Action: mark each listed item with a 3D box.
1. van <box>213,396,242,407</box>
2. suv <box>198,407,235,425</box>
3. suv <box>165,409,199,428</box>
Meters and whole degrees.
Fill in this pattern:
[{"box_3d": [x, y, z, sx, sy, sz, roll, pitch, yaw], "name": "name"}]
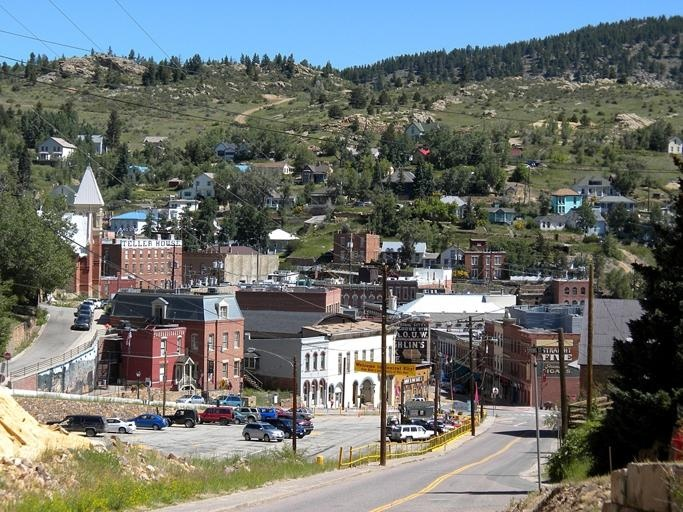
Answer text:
[{"box_3d": [-11.453, 14.875, 140.368, 1.993, 1.202, 1.245, 7, -2, -2], "name": "van"}, {"box_3d": [-12.284, 15.941, 135.143, 2.718, 1.538, 1.681, 3, -3, 7], "name": "suv"}, {"box_3d": [-15.313, 15.605, 131.935, 2.262, 1.533, 1.554, 5, -3, 8], "name": "suv"}]
